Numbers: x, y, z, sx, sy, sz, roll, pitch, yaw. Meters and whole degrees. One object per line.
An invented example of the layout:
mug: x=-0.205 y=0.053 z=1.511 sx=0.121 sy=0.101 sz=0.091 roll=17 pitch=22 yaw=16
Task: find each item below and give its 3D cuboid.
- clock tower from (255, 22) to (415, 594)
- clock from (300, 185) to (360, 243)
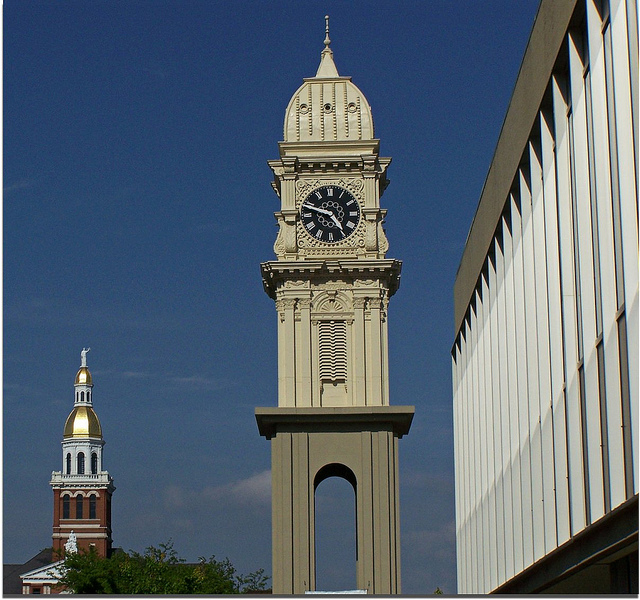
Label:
clock tower: x=0.492 y=0.205 z=82.887 sx=4.926 sy=25.016 sz=4.963 roll=-2 pitch=-18 yaw=1
clock: x=0.446 y=-3.701 z=85.982 sx=2.027 sy=2.444 sz=0.187 roll=-4 pitch=-22 yaw=3
